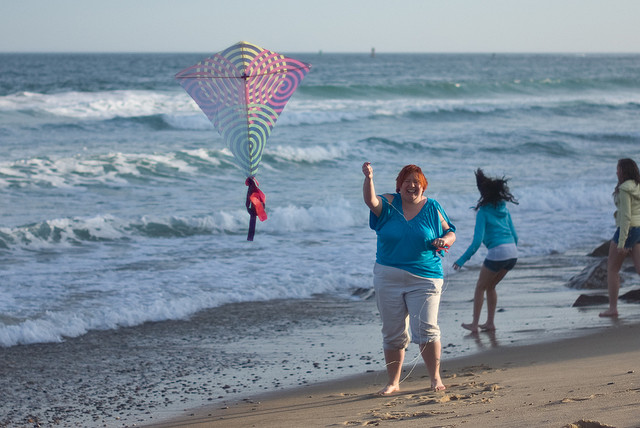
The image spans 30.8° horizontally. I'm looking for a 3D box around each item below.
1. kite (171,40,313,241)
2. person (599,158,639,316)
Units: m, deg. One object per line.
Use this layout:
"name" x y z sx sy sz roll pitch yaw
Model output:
"kite" -1.185 -1.488 24.648 3.363 4.073 2.896 6 -12 -31
"person" 6.503 0.499 25.078 0.751 3.391 0.360 -1 6 14
